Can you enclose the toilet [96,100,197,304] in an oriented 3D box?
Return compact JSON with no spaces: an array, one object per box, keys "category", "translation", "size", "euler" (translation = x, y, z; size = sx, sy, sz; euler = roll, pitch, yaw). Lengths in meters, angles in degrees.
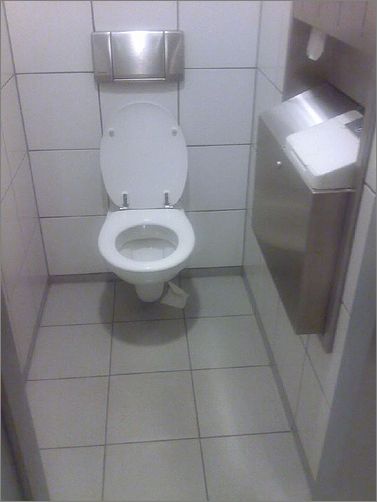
[{"category":"toilet","translation":[-0.200,-0.240,1.825],"size":[0.445,0.734,0.595],"euler":[-3,31,-7]}]
